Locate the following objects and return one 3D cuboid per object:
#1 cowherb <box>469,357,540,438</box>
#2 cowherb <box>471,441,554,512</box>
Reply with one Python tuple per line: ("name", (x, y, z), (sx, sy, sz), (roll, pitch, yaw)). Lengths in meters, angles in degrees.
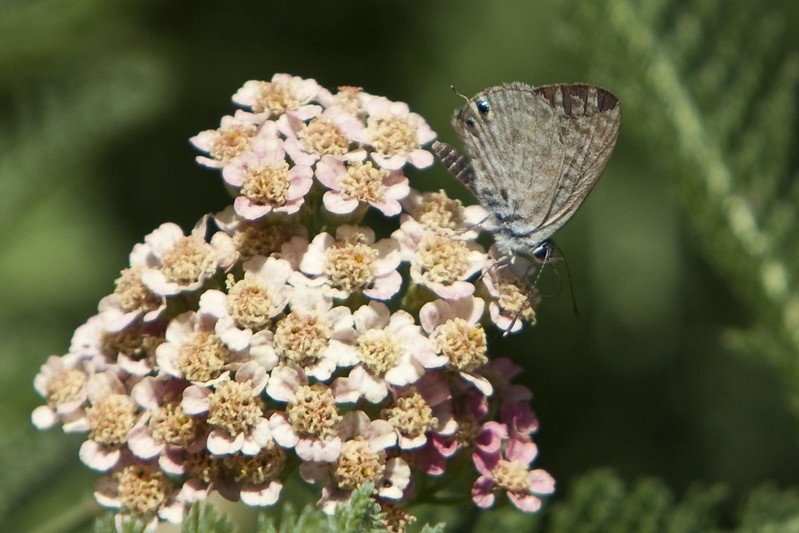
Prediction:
("cowherb", (0.730, 0.874, 7.519), (0.399, 0.188, 0.492), (-4, 58, -43))
("cowherb", (0.720, 1.329, 7.233), (0.524, 0.356, 0.355), (-1, 26, 2))
